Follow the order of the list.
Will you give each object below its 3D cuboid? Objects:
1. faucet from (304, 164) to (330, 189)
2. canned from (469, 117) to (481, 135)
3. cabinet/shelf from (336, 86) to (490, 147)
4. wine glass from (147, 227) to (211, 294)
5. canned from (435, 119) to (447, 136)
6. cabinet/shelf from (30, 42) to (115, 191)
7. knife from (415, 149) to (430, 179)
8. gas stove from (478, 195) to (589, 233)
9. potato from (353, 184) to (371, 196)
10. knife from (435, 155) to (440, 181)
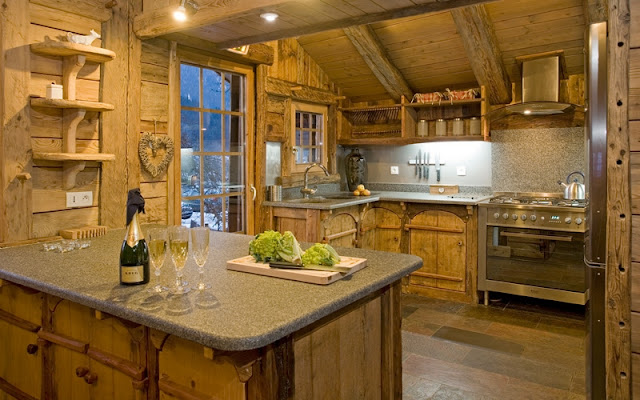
[{"bbox_3d":[-0.049,-0.343,6.011,0.320,0.362,0.868,0,14,-1],"label":"faucet"},{"bbox_3d":[1.967,-0.927,5.796,0.122,0.220,0.158,2,15,5],"label":"canned"},{"bbox_3d":[1.394,-1.119,6.531,2.255,0.659,0.620,6,11,43],"label":"cabinet/shelf"},{"bbox_3d":[-0.848,0.323,2.777,0.344,0.393,0.287,-3,15,-13],"label":"wine glass"},{"bbox_3d":[1.594,-0.943,6.017,0.130,0.204,0.148,3,15,9],"label":"canned"},{"bbox_3d":[-2.038,-0.688,3.828,0.696,1.195,0.393,-10,19,-34],"label":"cabinet/shelf"},{"bbox_3d":[1.445,-0.489,6.419,0.200,0.413,0.069,15,21,42],"label":"knife"},{"bbox_3d":[2.341,0.177,5.121,1.088,0.341,0.112,7,17,26],"label":"gas stove"},{"bbox_3d":[0.560,-0.120,6.152,0.198,0.070,0.187,2,-7,-31],"label":"potato"},{"bbox_3d":[1.636,-0.437,6.319,0.044,0.343,0.098,-7,17,-24],"label":"knife"}]
